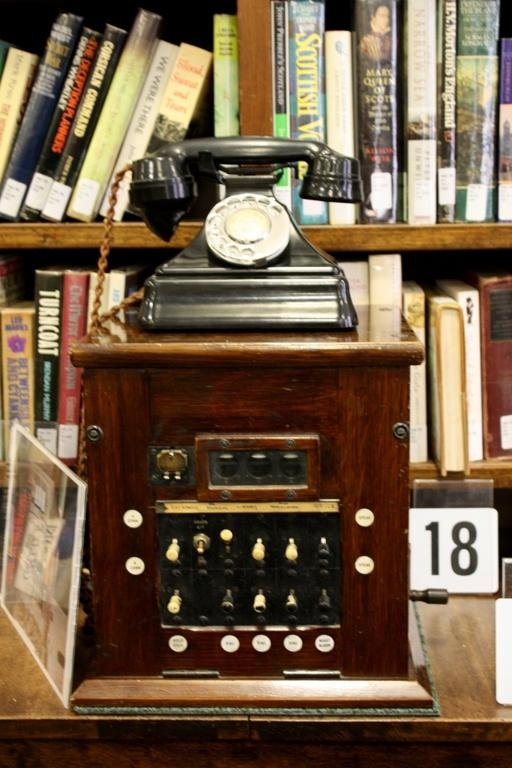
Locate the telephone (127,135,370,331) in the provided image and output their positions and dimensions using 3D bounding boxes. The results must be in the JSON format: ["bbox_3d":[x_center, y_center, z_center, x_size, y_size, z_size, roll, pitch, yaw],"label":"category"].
[{"bbox_3d":[-0.008,-0.213,1.039,0.324,0.240,0.193,0,17,0],"label":"telephone"}]
